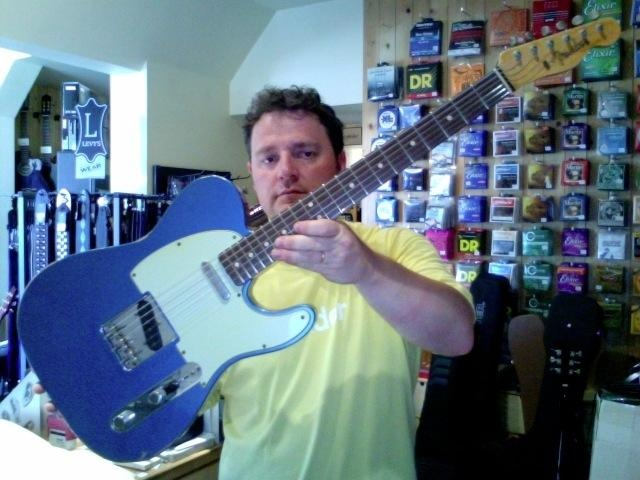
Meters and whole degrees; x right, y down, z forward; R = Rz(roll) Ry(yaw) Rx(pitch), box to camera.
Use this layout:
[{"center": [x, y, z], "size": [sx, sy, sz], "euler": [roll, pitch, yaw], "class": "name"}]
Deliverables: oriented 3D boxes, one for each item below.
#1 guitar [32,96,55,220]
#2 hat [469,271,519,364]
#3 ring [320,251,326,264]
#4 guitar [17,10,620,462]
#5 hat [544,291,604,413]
[{"center": [-2.976, -0.955, 5.705], "size": [0.118, 1.141, 0.302], "euler": [10, 11, -3], "class": "guitar"}, {"center": [1.049, 0.473, 3.267], "size": [0.321, 0.638, 0.165], "euler": [3, 4, 19], "class": "hat"}, {"center": [0.007, 0.050, 1.491], "size": [0.016, 0.030, 0.004], "euler": [-1, 2, 0], "class": "ring"}, {"center": [0.113, -0.082, 2.706], "size": [3.221, 1.188, 0.344], "euler": [-36, 5, -3], "class": "guitar"}, {"center": [1.406, 0.606, 3.031], "size": [0.319, 0.648, 0.147], "euler": [9, 2, 18], "class": "hat"}]
